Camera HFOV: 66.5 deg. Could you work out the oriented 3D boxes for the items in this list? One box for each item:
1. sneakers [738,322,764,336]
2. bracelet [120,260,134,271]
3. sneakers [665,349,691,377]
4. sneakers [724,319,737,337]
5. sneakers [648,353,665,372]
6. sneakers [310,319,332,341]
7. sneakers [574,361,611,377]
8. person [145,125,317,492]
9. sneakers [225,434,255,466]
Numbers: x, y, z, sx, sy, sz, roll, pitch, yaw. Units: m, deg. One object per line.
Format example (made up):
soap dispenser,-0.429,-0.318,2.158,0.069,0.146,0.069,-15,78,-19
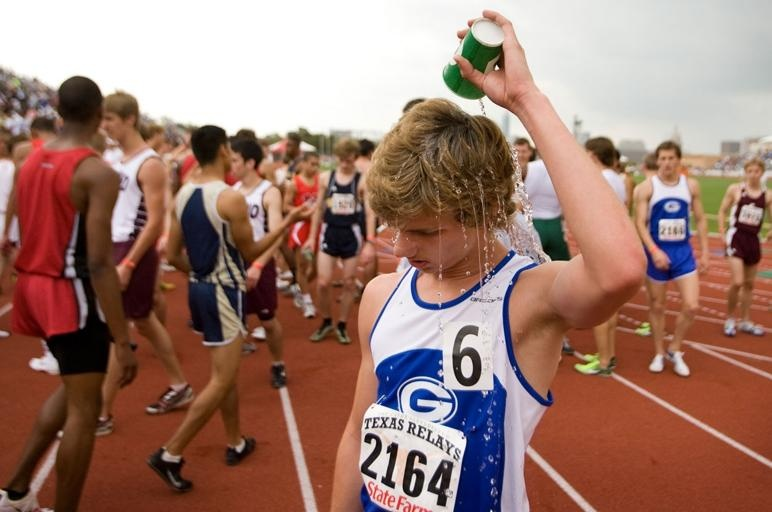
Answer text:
sneakers,5.588,1.112,8.991,0.175,0.154,0.334,-8,4,-19
bracelet,-2.440,0.097,5.540,0.085,0.045,0.091,13,-4,-9
sneakers,3.725,1.333,7.483,0.144,0.175,0.431,-14,33,8
sneakers,5.190,1.085,8.849,0.153,0.235,0.202,9,10,34
sneakers,3.434,1.362,7.461,0.115,0.142,0.320,-6,5,28
sneakers,-0.927,1.080,8.427,0.324,0.234,0.109,-34,30,-34
sneakers,2.581,1.390,7.342,0.413,0.204,0.163,2,1,22
person,-1.518,0.412,5.196,1.273,3.059,0.864,-4,10,-38
sneakers,-1.331,1.780,5.387,0.120,0.153,0.336,1,12,10
